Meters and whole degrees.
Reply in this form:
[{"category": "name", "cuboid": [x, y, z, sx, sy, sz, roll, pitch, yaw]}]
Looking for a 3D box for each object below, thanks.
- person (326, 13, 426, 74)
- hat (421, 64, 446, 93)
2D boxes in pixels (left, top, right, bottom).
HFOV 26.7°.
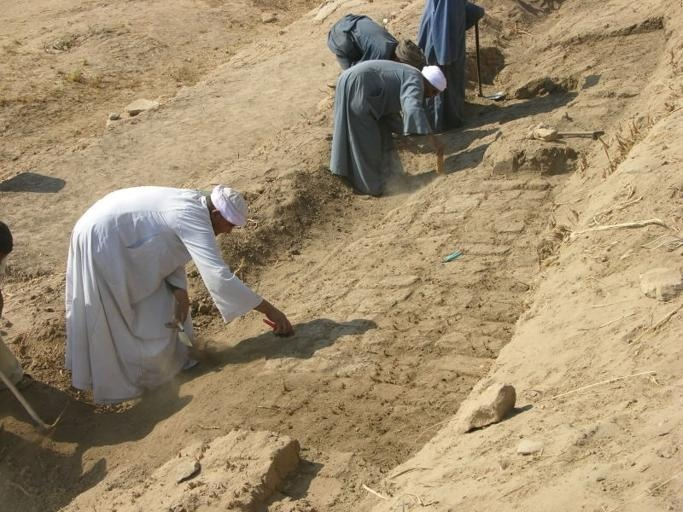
[{"category": "person", "cuboid": [0.436, -2.928, 20.694, 1.197, 0.521, 0.770, 38, 80, 18]}, {"category": "hat", "cuboid": [1.261, -2.460, 19.864, 0.303, 0.359, 0.331, -10, 23, 4]}]
